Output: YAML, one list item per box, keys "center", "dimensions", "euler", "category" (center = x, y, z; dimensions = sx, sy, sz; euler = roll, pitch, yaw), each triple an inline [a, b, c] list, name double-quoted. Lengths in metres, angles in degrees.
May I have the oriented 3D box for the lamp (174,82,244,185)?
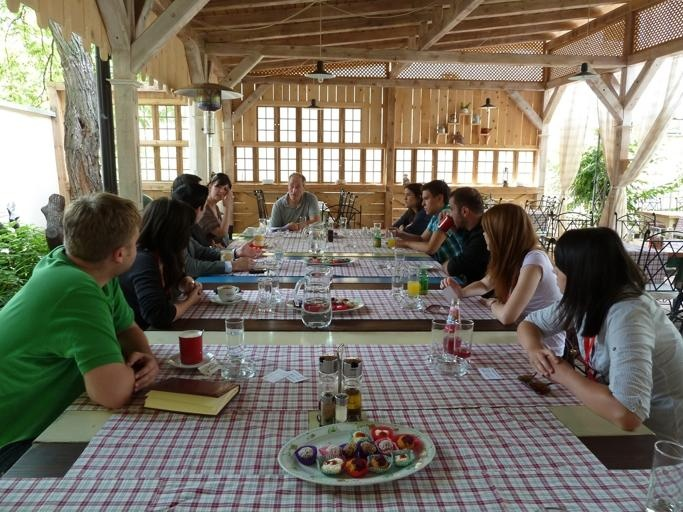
- center: [-1.166, -1.147, 4.274]
  dimensions: [0.592, 0.738, 0.589]
  euler: [18, 11, 41]
  category: "lamp"

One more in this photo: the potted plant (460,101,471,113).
- center: [2.525, -3.008, 9.628]
  dimensions: [0.224, 0.251, 0.226]
  euler: [1, 9, -7]
  category: "potted plant"

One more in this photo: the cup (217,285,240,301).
- center: [-0.582, 0.184, 2.397]
  dimensions: [0.075, 0.047, 0.090]
  euler: [-2, -8, 9]
  category: "cup"

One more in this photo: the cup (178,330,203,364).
- center: [-0.523, 0.321, 1.675]
  dimensions: [0.109, 0.094, 0.082]
  euler: [-8, 13, -31]
  category: "cup"

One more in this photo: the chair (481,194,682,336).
- center: [0.892, 0.030, 1.667]
  dimensions: [0.382, 0.411, 0.395]
  euler: [-1, 10, 17]
  category: "chair"

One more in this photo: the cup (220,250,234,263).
- center: [-0.742, -0.003, 3.074]
  dimensions: [0.082, 0.065, 0.075]
  euler: [0, -2, 0]
  category: "cup"

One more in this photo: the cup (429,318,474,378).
- center: [0.387, 0.333, 1.725]
  dimensions: [0.186, 0.185, 0.178]
  euler: [1, 7, 0]
  category: "cup"

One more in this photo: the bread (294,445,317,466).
- center: [-0.084, 0.490, 1.164]
  dimensions: [0.042, 0.025, 0.040]
  euler: [-1, 3, -3]
  category: "bread"

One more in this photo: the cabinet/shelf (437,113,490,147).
- center: [2.511, -2.587, 9.675]
  dimensions: [1.163, 0.633, 0.179]
  euler: [-1, 12, -5]
  category: "cabinet/shelf"

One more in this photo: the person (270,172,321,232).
- center: [-0.547, -0.557, 5.596]
  dimensions: [0.689, 0.736, 0.544]
  euler: [0, 15, -11]
  category: "person"

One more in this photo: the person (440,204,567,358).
- center: [0.830, 0.188, 2.520]
  dimensions: [0.723, 0.914, 0.445]
  euler: [-3, 21, 10]
  category: "person"

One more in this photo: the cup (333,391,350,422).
- center: [-0.001, 0.429, 1.329]
  dimensions: [0.038, 0.081, 0.065]
  euler: [0, 11, -1]
  category: "cup"
